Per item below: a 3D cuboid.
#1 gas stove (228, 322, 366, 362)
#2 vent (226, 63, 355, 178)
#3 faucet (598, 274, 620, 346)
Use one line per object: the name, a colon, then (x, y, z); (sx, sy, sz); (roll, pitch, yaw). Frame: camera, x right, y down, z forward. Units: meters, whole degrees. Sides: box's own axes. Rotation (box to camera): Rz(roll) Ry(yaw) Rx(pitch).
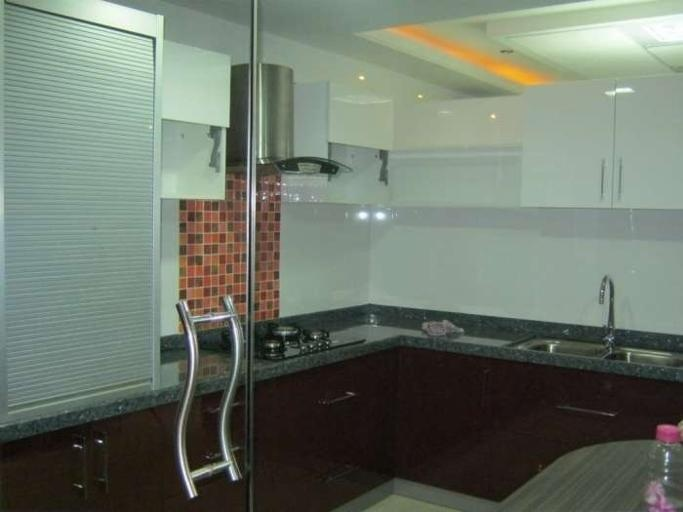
gas stove: (-0.158, 0.350, 2.516); (0.402, 0.058, 0.213); (-4, 8, -43)
vent: (-0.202, -0.542, 2.265); (0.477, 0.378, 0.317); (2, 7, -8)
faucet: (1.298, 0.281, 2.830); (0.110, 0.362, 0.085); (1, 6, -4)
